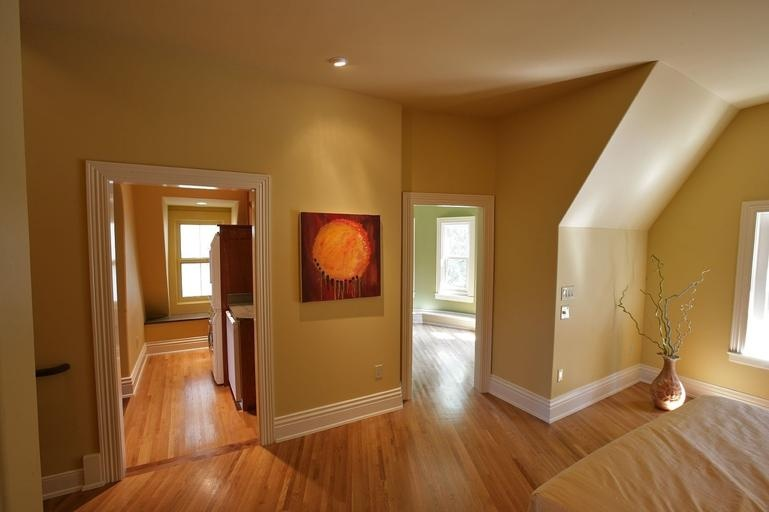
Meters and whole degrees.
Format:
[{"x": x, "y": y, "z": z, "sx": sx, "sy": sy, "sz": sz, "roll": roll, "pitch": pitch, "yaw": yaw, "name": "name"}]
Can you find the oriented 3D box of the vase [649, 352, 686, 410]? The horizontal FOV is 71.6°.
[{"x": 3.079, "y": 1.362, "z": 5.801, "sx": 0.319, "sy": 0.574, "sz": 0.342, "roll": -5, "pitch": 13, "yaw": -13, "name": "vase"}]
